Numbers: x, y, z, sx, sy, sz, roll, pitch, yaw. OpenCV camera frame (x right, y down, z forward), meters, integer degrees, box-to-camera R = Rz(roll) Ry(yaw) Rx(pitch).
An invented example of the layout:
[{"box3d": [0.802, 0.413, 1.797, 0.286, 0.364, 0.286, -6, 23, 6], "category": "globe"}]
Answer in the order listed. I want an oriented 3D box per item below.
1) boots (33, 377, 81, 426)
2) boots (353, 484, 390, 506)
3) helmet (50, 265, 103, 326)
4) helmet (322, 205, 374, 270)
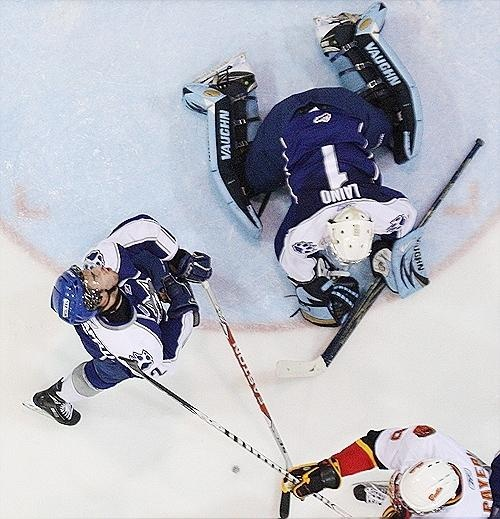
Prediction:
[{"box3d": [-1.726, 1.295, 5.615, 0.504, 0.496, 0.206, -25, 29, 49], "category": "boots"}, {"box3d": [1.071, 2.074, 5.495, 0.318, 0.130, 0.166, -3, 4, 42], "category": "boots"}, {"box3d": [-1.316, 0.258, 4.525, 0.473, 0.383, 0.493, 6, -8, -18], "category": "helmet"}, {"box3d": [0.865, -0.249, 5.265, 0.497, 0.364, 0.513, -4, 0, -7], "category": "helmet"}]
